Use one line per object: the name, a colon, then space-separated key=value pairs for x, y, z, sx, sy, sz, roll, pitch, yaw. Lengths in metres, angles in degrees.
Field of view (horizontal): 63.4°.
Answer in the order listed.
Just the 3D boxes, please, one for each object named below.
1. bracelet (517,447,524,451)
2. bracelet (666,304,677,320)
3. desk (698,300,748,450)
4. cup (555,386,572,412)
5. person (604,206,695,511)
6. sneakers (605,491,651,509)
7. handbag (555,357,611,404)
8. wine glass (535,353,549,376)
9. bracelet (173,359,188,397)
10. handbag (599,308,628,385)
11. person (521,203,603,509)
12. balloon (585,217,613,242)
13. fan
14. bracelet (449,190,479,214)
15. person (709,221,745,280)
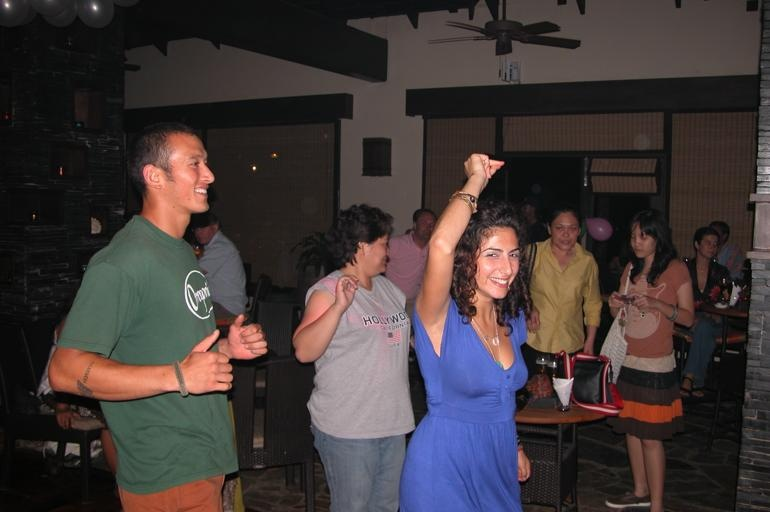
bracelet: x=0.825 y=1.167 z=3.802 sx=0.033 sy=0.023 sz=0.045 roll=-1 pitch=-15 yaw=24
bracelet: x=2.340 y=0.462 z=5.123 sx=0.049 sy=0.093 sz=0.111 roll=0 pitch=-32 yaw=12
desk: x=3.655 y=1.256 z=6.754 sx=0.576 sy=1.236 sz=1.403 roll=3 pitch=5 yaw=28
cup: x=1.327 y=1.067 z=4.699 sx=0.158 sy=0.173 sz=0.146 roll=-9 pitch=0 yaw=0
person: x=2.231 y=0.910 z=5.306 sx=0.651 sy=2.582 sz=0.405 roll=4 pitch=4 yaw=26
sneakers: x=2.128 y=2.133 z=5.460 sx=0.349 sy=0.134 sz=0.142 roll=2 pitch=-1 yaw=9
handbag: x=1.565 y=0.926 z=4.767 sx=0.233 sy=0.397 sz=0.401 roll=-18 pitch=9 yaw=-36
wine glass: x=1.238 y=0.843 z=4.879 sx=0.100 sy=0.176 sz=0.341 roll=3 pitch=4 yaw=14
bracelet: x=-1.027 y=0.611 z=3.131 sx=0.032 sy=0.137 sz=0.134 roll=-20 pitch=10 yaw=-8
handbag: x=1.894 y=0.753 z=5.213 sx=0.200 sy=0.630 sz=0.318 roll=4 pitch=5 yaw=36
person: x=1.689 y=0.752 z=6.095 sx=0.747 sy=2.359 sz=0.725 roll=2 pitch=19 yaw=9
balloon: x=2.522 y=-0.327 z=7.474 sx=0.202 sy=0.209 sz=0.465 roll=-18 pitch=24 yaw=-31
fan: x=1.864 y=-2.920 z=8.455 sx=1.458 sy=0.570 sz=1.497 roll=4 pitch=7 yaw=21
bracelet: x=0.435 y=-0.300 z=3.419 sx=0.141 sy=0.114 sz=0.092 roll=2 pitch=4 yaw=-1
person: x=4.475 y=-0.055 z=8.177 sx=0.302 sy=0.977 sz=0.439 roll=-3 pitch=-23 yaw=16
